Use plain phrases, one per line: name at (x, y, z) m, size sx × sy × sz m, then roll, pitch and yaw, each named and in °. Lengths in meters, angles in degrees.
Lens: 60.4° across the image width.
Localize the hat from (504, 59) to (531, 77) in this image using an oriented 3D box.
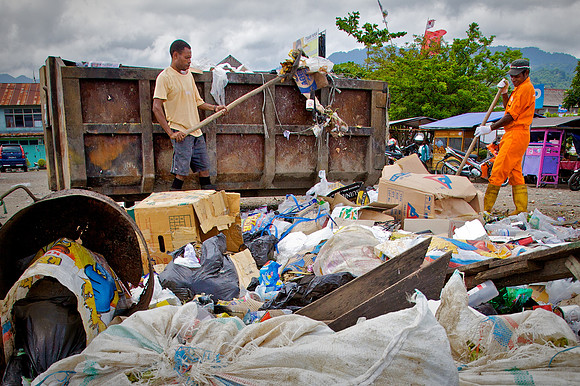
hat at (2.995, -1.627, 6.488) m, size 0.282 × 0.158 × 0.186 m, roll -15°, pitch 17°, yaw -31°

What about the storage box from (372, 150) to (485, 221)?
storage box at (1.448, -0.096, 5.711) m, size 0.636 × 0.462 × 1.103 m, roll 1°, pitch 5°, yaw -22°

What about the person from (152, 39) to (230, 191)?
person at (-1.184, -0.724, 5.766) m, size 0.744 × 1.386 × 0.350 m, roll -7°, pitch 7°, yaw -36°

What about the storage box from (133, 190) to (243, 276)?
storage box at (-1.073, 0.371, 5.503) m, size 1.168 × 0.625 × 1.193 m, roll -14°, pitch 7°, yaw -27°
